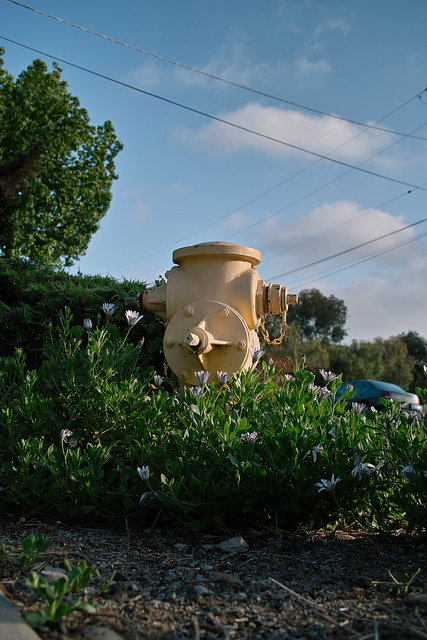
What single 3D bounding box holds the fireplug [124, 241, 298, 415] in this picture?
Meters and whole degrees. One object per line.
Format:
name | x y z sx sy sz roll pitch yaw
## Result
fireplug | -0.004 0.027 4.680 1.225 1.227 0.930 3 -4 4
